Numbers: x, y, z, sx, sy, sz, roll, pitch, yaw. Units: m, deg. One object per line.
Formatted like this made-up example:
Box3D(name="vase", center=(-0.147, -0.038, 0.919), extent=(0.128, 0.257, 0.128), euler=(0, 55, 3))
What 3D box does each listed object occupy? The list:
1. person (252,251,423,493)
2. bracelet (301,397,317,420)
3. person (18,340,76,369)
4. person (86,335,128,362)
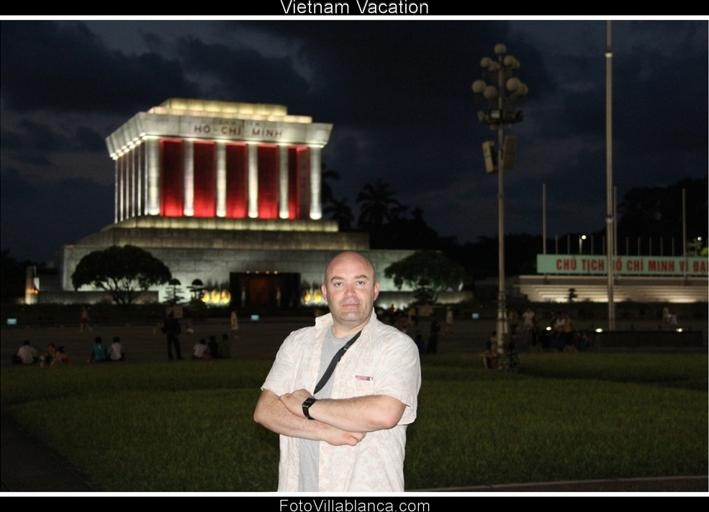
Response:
Box3D(name="person", center=(-0.126, 1.136, 7.444), extent=(1.466, 1.882, 0.461), euler=(2, -1, 13))
Box3D(name="bracelet", center=(-0.429, 1.463, 7.295), extent=(0.115, 0.166, 0.155), euler=(10, -40, 24))
Box3D(name="person", center=(-10.129, 3.309, 24.828), extent=(1.241, 0.689, 1.641), euler=(5, -6, -38))
Box3D(name="person", center=(-8.343, 3.155, 25.987), extent=(1.035, 0.840, 1.185), euler=(1, -2, 42))
